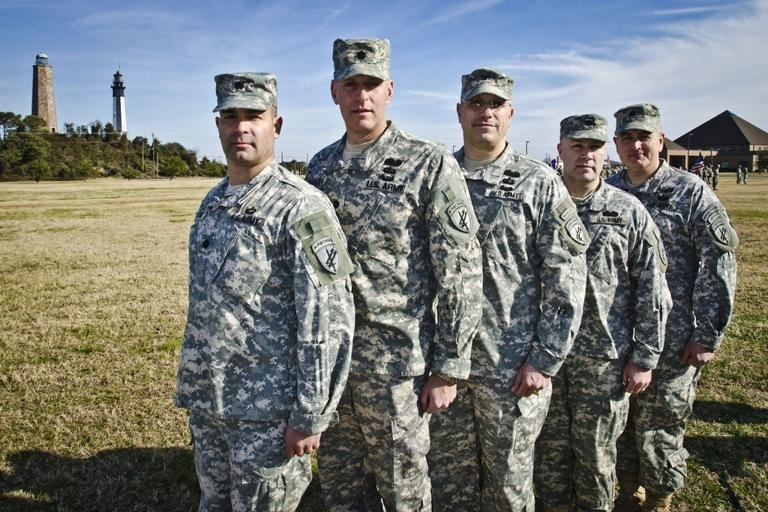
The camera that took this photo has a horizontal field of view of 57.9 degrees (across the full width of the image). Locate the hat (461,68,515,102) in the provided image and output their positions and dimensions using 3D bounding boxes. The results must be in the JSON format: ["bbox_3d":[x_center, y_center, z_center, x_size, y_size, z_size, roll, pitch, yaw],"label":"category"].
[{"bbox_3d":[1.016,-1.733,6.900,0.592,0.281,0.816,-1,14,5],"label":"hat"}]

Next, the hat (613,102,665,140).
[{"bbox_3d":[2.754,-1.505,7.582,0.514,0.354,0.665,-3,1,17],"label":"hat"}]
